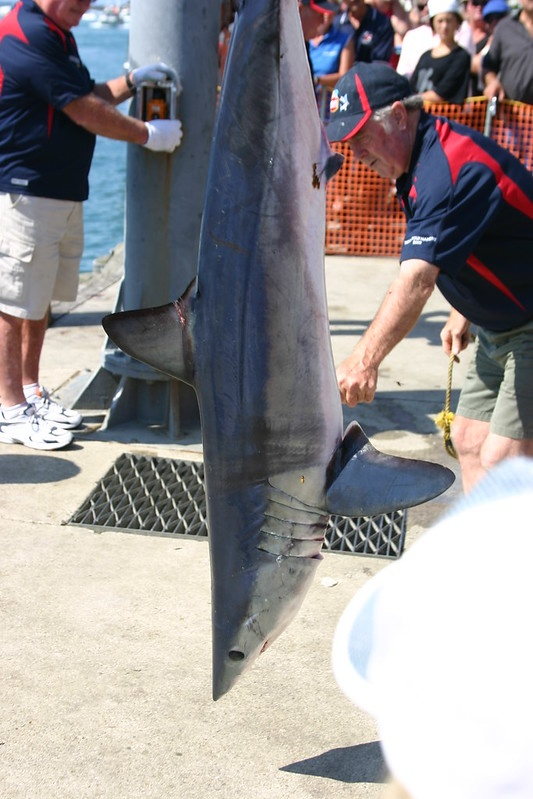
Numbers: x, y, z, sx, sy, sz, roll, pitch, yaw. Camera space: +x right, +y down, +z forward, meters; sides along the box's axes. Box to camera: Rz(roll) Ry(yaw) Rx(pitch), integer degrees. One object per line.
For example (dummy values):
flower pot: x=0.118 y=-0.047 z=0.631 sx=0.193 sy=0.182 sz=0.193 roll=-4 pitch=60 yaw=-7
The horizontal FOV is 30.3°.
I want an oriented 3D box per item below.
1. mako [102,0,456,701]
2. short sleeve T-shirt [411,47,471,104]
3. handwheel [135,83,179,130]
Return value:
mako: x=0.029 y=-0.037 z=2.076 sx=0.424 sy=1.413 sz=0.467 roll=-8 pitch=10 yaw=-23
short sleeve T-shirt: x=1.238 y=-2.360 z=7.203 sx=0.546 sy=0.453 sz=0.275 roll=12 pitch=22 yaw=16
handwheel: x=-0.437 y=-1.181 z=3.931 sx=0.144 sy=0.136 sz=0.194 roll=-1 pitch=12 yaw=4
